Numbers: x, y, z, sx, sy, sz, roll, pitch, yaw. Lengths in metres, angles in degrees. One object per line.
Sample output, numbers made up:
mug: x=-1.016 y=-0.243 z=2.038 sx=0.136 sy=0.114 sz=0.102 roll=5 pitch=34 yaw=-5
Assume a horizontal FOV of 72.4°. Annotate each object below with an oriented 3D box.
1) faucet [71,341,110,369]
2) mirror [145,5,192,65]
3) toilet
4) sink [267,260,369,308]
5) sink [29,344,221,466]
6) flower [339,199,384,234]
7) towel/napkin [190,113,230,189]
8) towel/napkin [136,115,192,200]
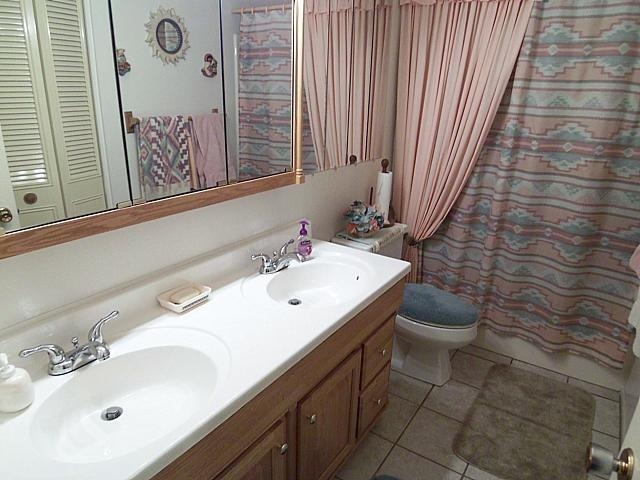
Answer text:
faucet: x=-0.728 y=0.359 z=1.386 sx=0.062 sy=0.041 sz=0.099 roll=22 pitch=28 yaw=31
mirror: x=-0.533 y=-0.711 z=1.504 sx=0.010 sy=0.189 sz=0.182 roll=11 pitch=34 yaw=35
toilet: x=0.575 y=0.383 z=2.680 sx=0.800 sy=0.913 sz=0.428 roll=10 pitch=19 yaw=-6
sink: x=-0.016 y=0.183 z=1.999 sx=0.453 sy=0.127 sz=0.229 roll=-5 pitch=29 yaw=-7
sink: x=-0.589 y=0.484 z=1.326 sx=0.470 sy=0.121 sz=0.290 roll=-20 pitch=35 yaw=-31
flower: x=0.242 y=-0.111 z=2.510 sx=0.186 sy=0.173 sz=0.192 roll=-25 pitch=37 yaw=-36
towel/napkin: x=-0.446 y=-0.361 z=1.734 sx=0.037 sy=0.271 sz=0.231 roll=13 pitch=27 yaw=25
towel/napkin: x=-0.572 y=-0.305 z=1.569 sx=0.037 sy=0.290 sz=0.250 roll=17 pitch=26 yaw=32
